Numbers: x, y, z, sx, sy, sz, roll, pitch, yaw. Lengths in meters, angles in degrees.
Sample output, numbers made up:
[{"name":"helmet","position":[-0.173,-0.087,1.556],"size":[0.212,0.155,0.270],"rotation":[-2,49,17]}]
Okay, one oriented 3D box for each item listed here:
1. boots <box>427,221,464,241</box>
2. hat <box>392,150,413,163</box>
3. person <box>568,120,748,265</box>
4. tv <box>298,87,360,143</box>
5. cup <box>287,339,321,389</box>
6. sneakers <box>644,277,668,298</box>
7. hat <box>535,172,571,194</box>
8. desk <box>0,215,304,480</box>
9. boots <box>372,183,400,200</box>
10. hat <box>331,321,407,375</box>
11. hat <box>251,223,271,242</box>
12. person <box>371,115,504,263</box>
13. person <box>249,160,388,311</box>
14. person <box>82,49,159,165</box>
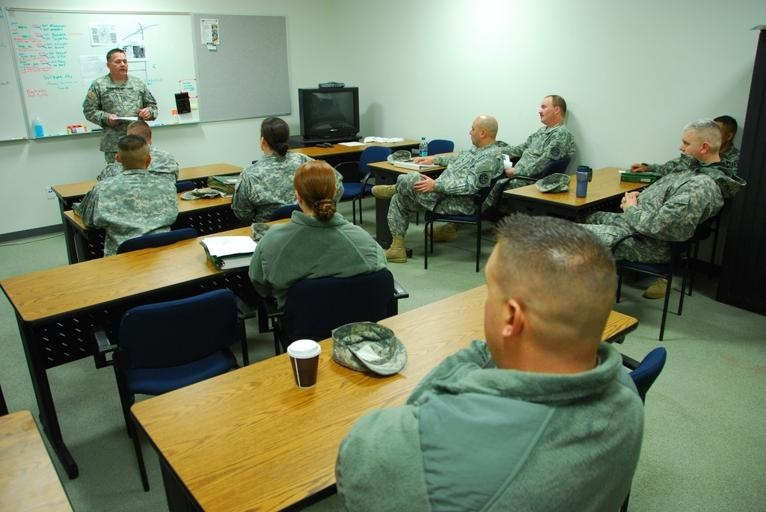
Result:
[{"name":"boots","position":[0.648,-0.279,5.973],"size":[0.329,0.223,0.181],"rotation":[20,24,34]},{"name":"hat","position":[0.194,-1.080,6.064],"size":[0.223,0.071,0.166],"rotation":[5,55,-8]},{"name":"person","position":[2.014,-0.444,4.330],"size":[1.466,1.080,0.776],"rotation":[-1,30,34]},{"name":"tv","position":[-0.754,-1.909,7.414],"size":[0.738,0.609,0.381],"rotation":[-8,17,-27]},{"name":"cup","position":[-0.330,0.443,2.413],"size":[0.188,0.174,0.181],"rotation":[-1,15,0]},{"name":"sneakers","position":[2.333,0.244,4.710],"size":[0.122,0.131,0.342],"rotation":[14,18,39]},{"name":"hat","position":[1.463,-0.634,4.767],"size":[0.294,0.121,0.273],"rotation":[1,20,10]},{"name":"desk","position":[-1.576,0.878,4.061],"size":[2.290,1.483,1.060],"rotation":[-18,41,-32]},{"name":"boots","position":[0.011,-0.655,5.524],"size":[0.304,0.125,0.104],"rotation":[3,42,5]},{"name":"hat","position":[-0.052,0.407,2.458],"size":[0.290,0.119,0.342],"rotation":[-15,25,-37]},{"name":"hat","position":[-0.817,-0.166,3.615],"size":[0.147,0.153,0.172],"rotation":[1,3,-12]},{"name":"person","position":[0.488,-0.657,5.488],"size":[1.279,1.466,0.764],"rotation":[5,17,8]},{"name":"person","position":[-0.396,-0.086,3.263],"size":[0.891,0.861,0.504],"rotation":[-1,21,-14]},{"name":"person","position":[-2.907,-1.386,6.195],"size":[0.784,1.681,0.542],"rotation":[-11,30,-32]}]
